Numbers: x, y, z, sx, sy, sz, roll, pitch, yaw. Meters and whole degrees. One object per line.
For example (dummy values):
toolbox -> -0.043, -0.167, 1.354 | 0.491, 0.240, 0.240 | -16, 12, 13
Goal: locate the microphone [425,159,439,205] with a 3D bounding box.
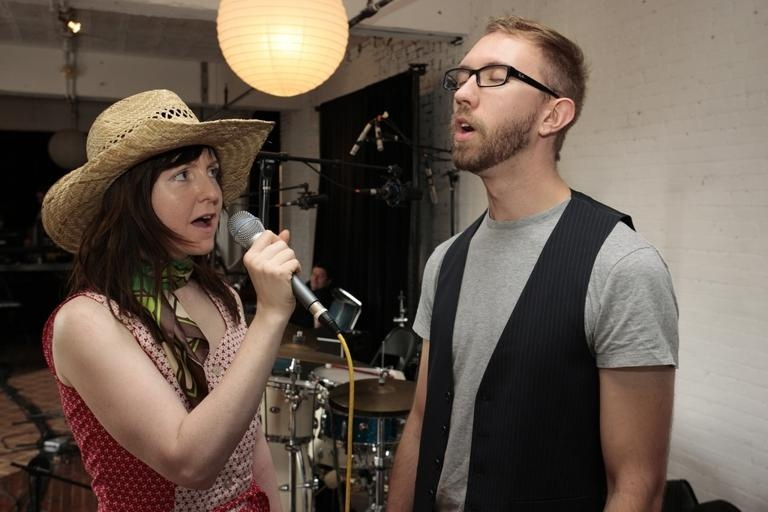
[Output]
microphone -> 0.417, -0.666, 5.759 | 0.087, 0.461, 0.106 | -16, 21, -6

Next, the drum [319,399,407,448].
drum -> -0.199, 1.067, 3.956 | 0.359, 0.143, 0.378 | 11, -18, 3

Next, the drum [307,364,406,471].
drum -> -0.141, 0.902, 3.894 | 0.633, 0.484, 0.587 | 4, 7, 0

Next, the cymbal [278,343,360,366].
cymbal -> -0.489, 0.615, 4.114 | 0.234, 0.059, 0.245 | 11, -11, 21

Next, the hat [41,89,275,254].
hat -> -0.806, -0.318, 2.222 | 0.667, 0.293, 0.641 | -20, -15, -22

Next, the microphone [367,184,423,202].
microphone -> 0.040, -0.439, 4.469 | 0.427, 0.176, 0.141 | 0, 2, -25

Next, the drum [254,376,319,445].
drum -> -0.702, 1.017, 4.162 | 0.339, 0.355, 0.344 | -2, -23, 23
